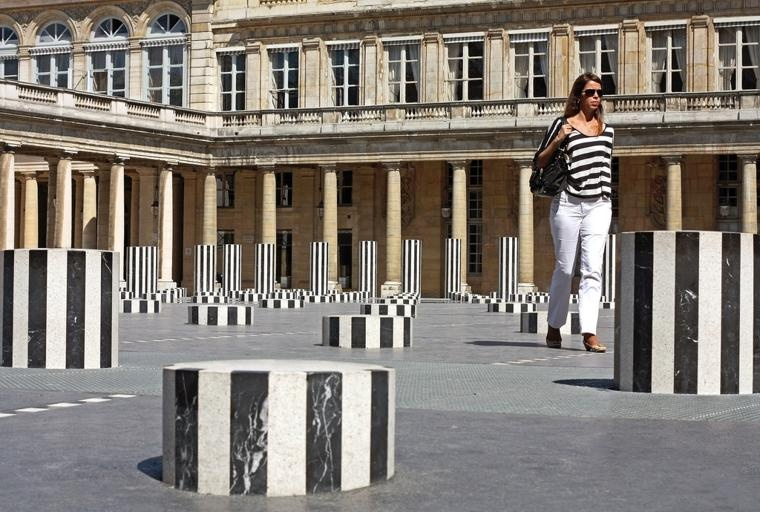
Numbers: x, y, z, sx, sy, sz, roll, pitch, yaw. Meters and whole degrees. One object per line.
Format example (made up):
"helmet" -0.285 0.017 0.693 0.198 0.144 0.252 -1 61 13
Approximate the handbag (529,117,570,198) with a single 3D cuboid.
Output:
"handbag" 3.220 -1.894 33.677 0.705 1.544 0.465 -2 8 6
